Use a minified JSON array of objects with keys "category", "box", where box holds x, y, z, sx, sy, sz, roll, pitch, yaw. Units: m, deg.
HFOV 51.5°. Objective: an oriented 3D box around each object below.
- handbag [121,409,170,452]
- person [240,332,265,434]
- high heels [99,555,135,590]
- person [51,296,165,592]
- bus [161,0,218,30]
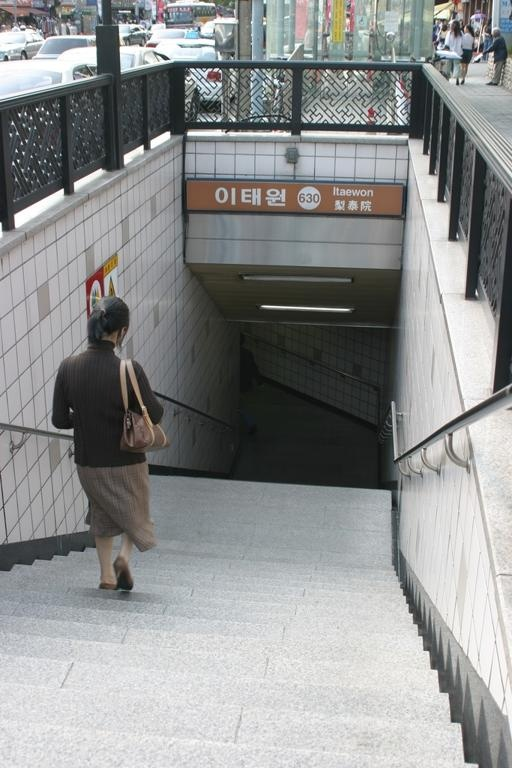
[{"category":"handbag","box":[-0.472,0.229,2.304,0.127,0.223,0.268,-2,-11,20]},{"category":"person","box":[-0.168,-0.176,13.006,0.518,2.071,1.338,1,7,0]},{"category":"high heels","box":[-0.657,0.904,2.528,0.085,0.122,0.259,1,-1,2]},{"category":"person","box":[-0.660,0.317,2.382,0.500,1.395,0.351,0,6,-6]},{"category":"bus","box":[-4.295,-23.764,33.481,1.716,1.885,5.496,9,30,18]}]
